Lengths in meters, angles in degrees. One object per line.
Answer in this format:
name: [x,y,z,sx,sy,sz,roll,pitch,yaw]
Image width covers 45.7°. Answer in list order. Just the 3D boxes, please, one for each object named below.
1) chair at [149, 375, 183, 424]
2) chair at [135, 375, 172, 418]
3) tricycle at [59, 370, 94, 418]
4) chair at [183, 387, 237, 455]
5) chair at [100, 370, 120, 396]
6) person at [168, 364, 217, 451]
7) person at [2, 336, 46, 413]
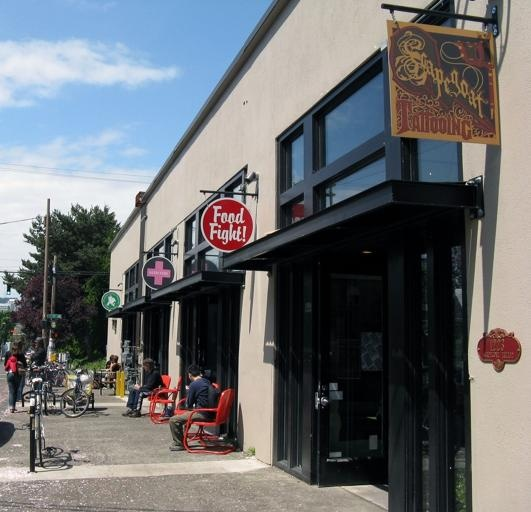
chair: [-2.290,3.127,13.922,0.545,0.921,0.489,5,-3,-38]
chair: [-2.352,3.154,13.982,0.505,0.797,0.567,-9,-9,15]
tricycle: [-4.168,3.053,14.245,0.488,0.867,1.288,-17,-9,20]
chair: [-0.846,2.486,9.659,0.628,0.992,0.676,-1,-6,23]
chair: [-5.351,4.346,21.589,0.515,0.833,0.760,7,-18,-21]
person: [-1.090,2.313,9.626,0.747,1.292,0.620,-1,-10,15]
person: [-5.657,2.648,14.461,0.736,1.170,1.707,1,-7,-12]
